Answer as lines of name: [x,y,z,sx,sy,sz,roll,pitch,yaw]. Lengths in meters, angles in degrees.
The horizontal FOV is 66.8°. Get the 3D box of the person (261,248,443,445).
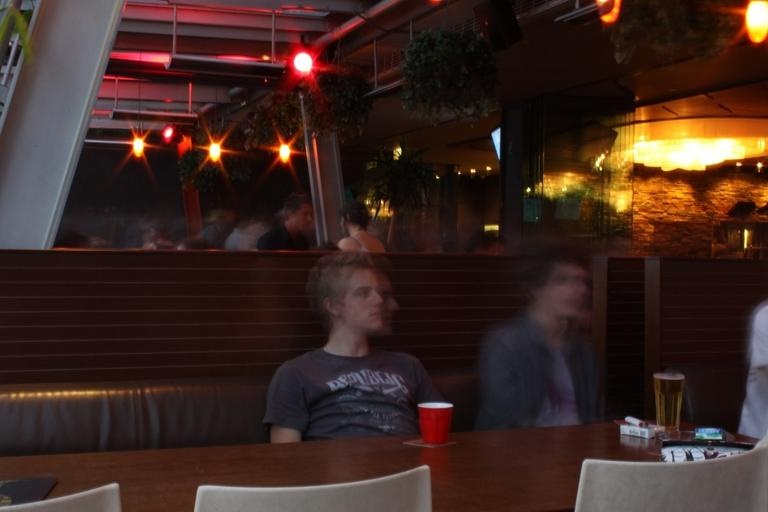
person: [-0.107,0.388,2.566,0.924,0.791,0.552,3,-7,-32]

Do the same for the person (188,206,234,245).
person: [-2.912,-0.534,9.698,0.633,0.263,1.086,-8,25,16]

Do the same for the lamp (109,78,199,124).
lamp: [-4.020,-2.649,10.037,1.572,0.591,1.365,-4,9,-27]

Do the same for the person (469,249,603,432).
person: [0.656,0.383,2.598,0.818,0.836,0.466,8,-10,-44]

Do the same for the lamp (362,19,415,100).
lamp: [0.082,-2.645,7.403,0.172,0.737,0.892,11,34,31]

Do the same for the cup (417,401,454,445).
cup: [0.187,0.580,2.008,0.126,0.112,0.119,-1,-8,0]
